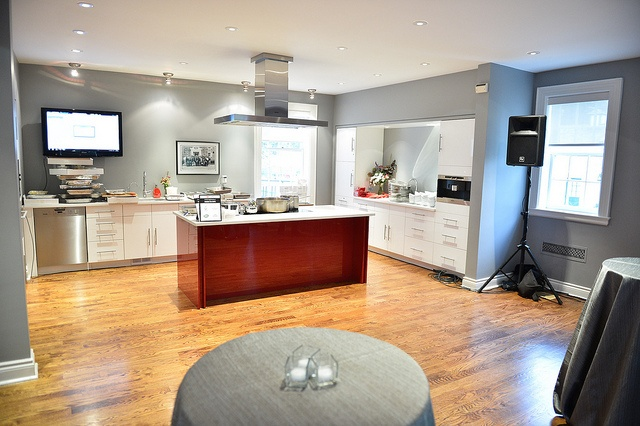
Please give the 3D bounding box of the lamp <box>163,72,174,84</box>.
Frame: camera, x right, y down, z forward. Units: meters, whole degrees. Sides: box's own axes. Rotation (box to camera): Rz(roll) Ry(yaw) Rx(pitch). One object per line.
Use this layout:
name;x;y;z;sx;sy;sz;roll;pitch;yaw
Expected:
lamp;-2.566;-2.291;6.978;0.144;0.195;0.216;6;15;5

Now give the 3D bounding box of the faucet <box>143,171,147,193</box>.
faucet;-3.014;-0.529;7.098;0.070;0.364;0.102;-3;10;-14

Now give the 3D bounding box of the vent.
vent;-0.659;-1.623;5.704;1.608;1.004;1.001;-2;4;-33

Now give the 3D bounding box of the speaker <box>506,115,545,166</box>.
speaker;2.808;-0.980;5.630;0.448;0.685;0.155;7;12;39

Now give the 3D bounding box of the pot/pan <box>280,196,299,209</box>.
pot/pan;-0.418;-0.163;6.166;0.180;0.231;0.249;-4;10;-31

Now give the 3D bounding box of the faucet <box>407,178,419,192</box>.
faucet;1.724;-0.511;7.694;0.082;0.274;0.255;-4;10;-19

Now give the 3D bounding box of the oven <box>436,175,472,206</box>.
oven;2.128;-0.348;6.390;0.293;0.473;0.585;-5;10;-42

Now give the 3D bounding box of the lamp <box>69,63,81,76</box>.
lamp;-3.860;-2.264;6.482;0.130;0.159;0.082;1;9;-25

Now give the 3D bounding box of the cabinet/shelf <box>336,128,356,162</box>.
cabinet/shelf;0.611;-1.341;8.499;0.521;0.737;0.556;0;-7;6

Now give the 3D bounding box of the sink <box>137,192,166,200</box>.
sink;-2.831;-0.281;6.955;0.421;0.123;0.535;-4;9;-23

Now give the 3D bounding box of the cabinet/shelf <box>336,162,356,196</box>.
cabinet/shelf;0.546;-0.696;8.347;0.224;0.590;0.660;-3;7;-21

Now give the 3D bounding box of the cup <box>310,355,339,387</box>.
cup;0.026;0.992;2.623;0.163;0.148;0.158;0;14;0

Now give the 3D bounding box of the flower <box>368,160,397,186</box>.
flower;1.238;-0.779;8.148;0.432;0.517;0.385;-5;10;-22

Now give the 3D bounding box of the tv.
tv;-3.747;-1.263;6.573;1.180;0.732;0.117;0;9;-9

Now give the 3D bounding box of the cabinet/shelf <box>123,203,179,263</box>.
cabinet/shelf;-2.762;0.300;6.656;0.987;0.927;0.487;-2;5;-30

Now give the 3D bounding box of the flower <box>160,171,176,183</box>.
flower;-2.659;-0.610;7.193;0.219;0.263;0.220;0;0;36

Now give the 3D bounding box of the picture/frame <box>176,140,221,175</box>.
picture/frame;-2.239;-1.007;7.472;0.695;0.535;0.053;-2;5;-32
